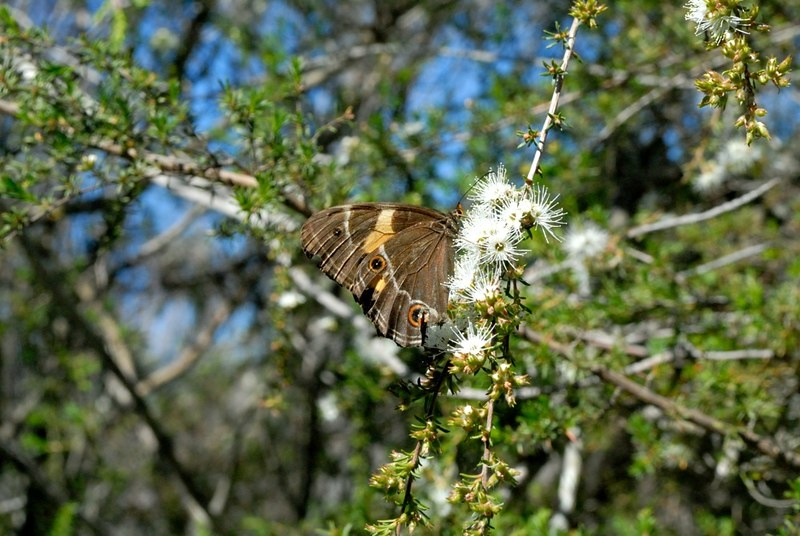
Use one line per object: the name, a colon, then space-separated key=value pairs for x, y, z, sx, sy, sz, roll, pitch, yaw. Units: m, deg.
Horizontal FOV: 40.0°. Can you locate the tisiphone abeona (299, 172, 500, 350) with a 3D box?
tisiphone abeona: x=-0.019 y=-0.045 z=6.632 sx=1.018 sy=0.821 sz=0.392 roll=29 pitch=-2 yaw=45
